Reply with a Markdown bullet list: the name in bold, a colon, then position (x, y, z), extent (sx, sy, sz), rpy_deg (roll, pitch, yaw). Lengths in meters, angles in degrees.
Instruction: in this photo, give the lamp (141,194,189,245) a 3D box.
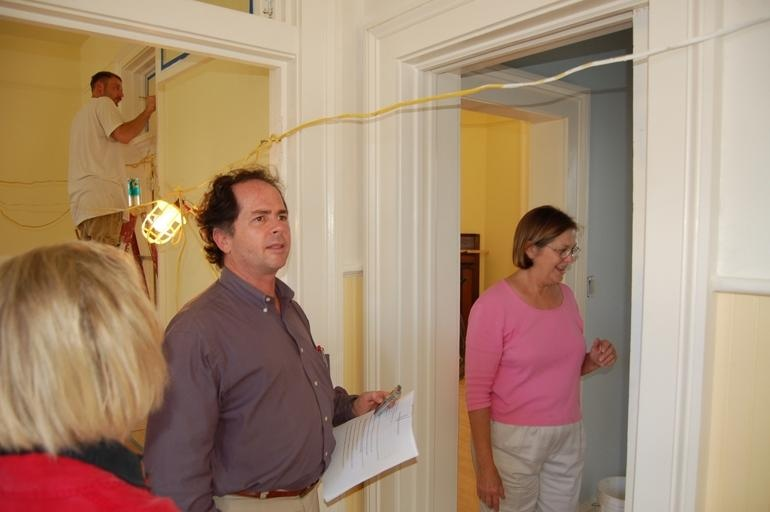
- **lamp**: position (-1.430, -0.239, 3.880), extent (0.247, 0.401, 0.246), rpy_deg (6, -6, 1)
